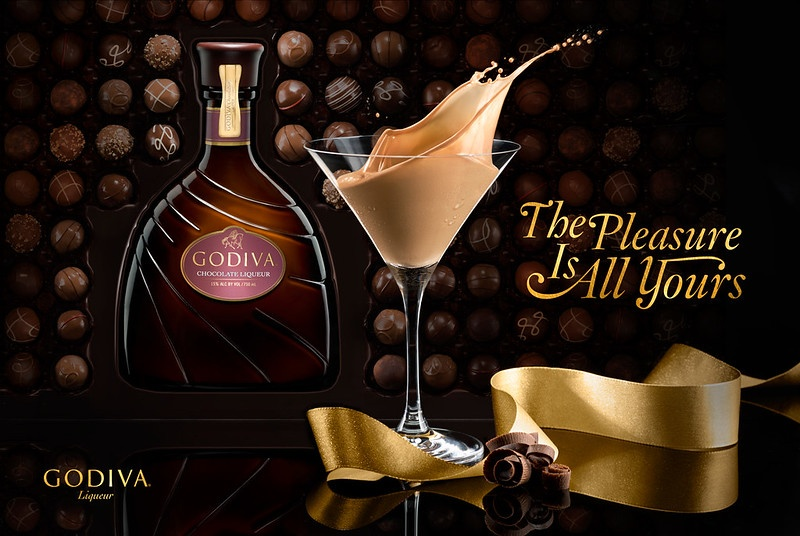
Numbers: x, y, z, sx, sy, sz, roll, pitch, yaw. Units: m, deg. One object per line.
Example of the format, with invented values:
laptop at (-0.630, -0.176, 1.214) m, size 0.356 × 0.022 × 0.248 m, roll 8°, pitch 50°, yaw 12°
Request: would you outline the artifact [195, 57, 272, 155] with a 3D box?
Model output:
artifact at (-0.286, -0.289, 1.285) m, size 0.124 × 0.210 × 0.125 m, roll 1°, pitch 7°, yaw -1°
